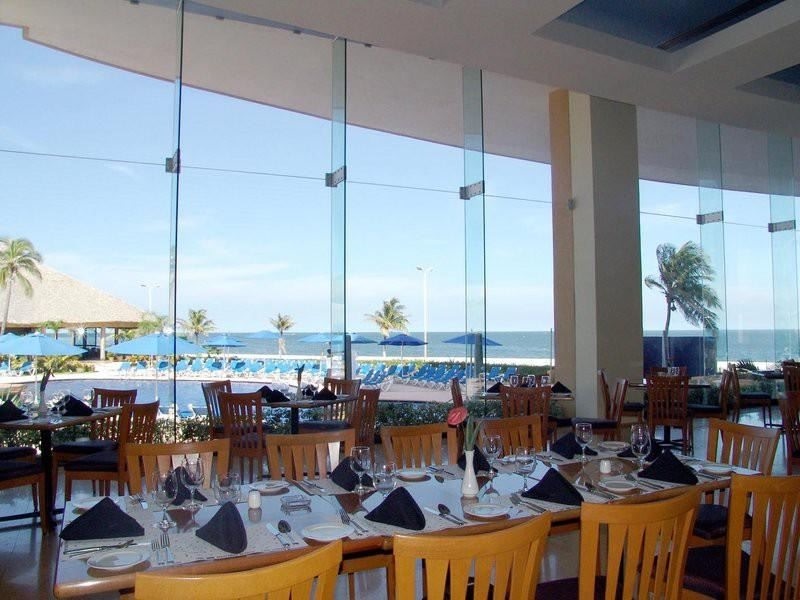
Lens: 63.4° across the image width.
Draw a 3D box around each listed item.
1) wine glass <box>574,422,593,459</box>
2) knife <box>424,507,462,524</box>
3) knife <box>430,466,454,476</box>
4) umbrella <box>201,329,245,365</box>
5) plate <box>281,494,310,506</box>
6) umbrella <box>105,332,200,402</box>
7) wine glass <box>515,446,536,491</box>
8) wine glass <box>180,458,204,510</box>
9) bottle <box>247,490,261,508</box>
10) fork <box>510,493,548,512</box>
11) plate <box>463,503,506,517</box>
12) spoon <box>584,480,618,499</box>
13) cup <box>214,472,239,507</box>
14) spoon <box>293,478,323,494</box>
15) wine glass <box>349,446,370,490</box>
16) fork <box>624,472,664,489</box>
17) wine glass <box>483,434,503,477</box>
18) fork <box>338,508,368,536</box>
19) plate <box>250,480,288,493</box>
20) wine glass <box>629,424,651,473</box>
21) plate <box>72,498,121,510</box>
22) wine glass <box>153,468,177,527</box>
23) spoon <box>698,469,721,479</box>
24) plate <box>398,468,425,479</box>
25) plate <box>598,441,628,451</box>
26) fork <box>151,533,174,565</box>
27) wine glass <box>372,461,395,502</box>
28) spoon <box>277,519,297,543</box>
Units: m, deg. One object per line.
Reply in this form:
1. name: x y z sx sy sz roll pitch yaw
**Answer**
1. wine glass: 1.170 0.887 4.113 0.100 0.226 0.315 -3 -6 17
2. knife: 0.210 1.077 3.288 0.057 0.049 0.433 -2 -6 -17
3. knife: 0.252 1.025 3.882 0.044 0.009 0.165 -10 4 -29
4. umbrella: -5.190 1.328 18.947 1.583 1.171 1.604 0 1 0
5. plate: -0.549 1.066 3.439 0.156 0.034 0.123 -1 -6 -9
6. umbrella: -2.456 0.698 6.995 0.985 0.652 0.898 3 3 -41
7. wine glass: 0.710 0.968 3.667 0.121 0.284 0.113 0 2 10
8. wine glass: -1.102 0.972 3.452 0.099 0.227 0.511 0 -6 -17
9. bottle: -0.760 1.043 3.388 0.074 0.084 0.074 0 1 -16
10. fork: 0.658 1.061 3.372 0.058 0.030 0.200 -2 0 -18
11. plate: 0.434 1.069 3.268 0.219 0.044 0.109 -3 -6 7
12. spoon: 1.083 1.039 3.530 0.117 0.054 0.224 0 -6 -16
13. cup: -0.903 0.986 3.371 0.144 0.156 0.146 -1 0 0
14. spoon: -0.506 1.037 3.636 0.059 0.028 0.179 -4 1 -23
15. wine glass: -0.209 0.934 3.583 0.114 0.223 0.053 -1 -5 -4
16. fork: 1.375 1.033 3.675 0.060 0.045 0.295 4 1 -7
17. wine glass: 0.548 0.894 3.745 0.082 0.219 0.190 -3 -6 17
18. fork: -0.225 1.097 3.150 0.049 0.044 0.293 2 4 -11
19. plate: -0.725 1.049 3.628 0.212 0.051 0.176 -1 -6 -13
20. wine glass: 1.456 0.881 3.922 0.118 0.270 0.275 -4 -6 19
21. plate: -1.599 1.061 3.376 0.239 0.060 0.139 -5 -7 27
22. wine glass: -1.181 0.992 3.257 0.116 0.270 0.270 0 -6 -19
23. spoon: 1.820 1.029 3.829 0.119 0.031 0.136 1 -7 -28
24. plate: 0.072 1.026 3.784 0.160 0.043 0.120 -2 -6 -1
25. plate: 1.436 0.991 4.365 0.208 0.045 0.199 -3 -6 6
26. fork: -1.080 1.146 2.962 0.053 0.044 0.376 -4 4 -13
27. wine glass: -0.078 0.951 3.379 0.150 0.256 0.157 0 -4 -3
28. spoon: -0.540 1.097 3.093 0.043 0.036 0.205 -1 4 -14
